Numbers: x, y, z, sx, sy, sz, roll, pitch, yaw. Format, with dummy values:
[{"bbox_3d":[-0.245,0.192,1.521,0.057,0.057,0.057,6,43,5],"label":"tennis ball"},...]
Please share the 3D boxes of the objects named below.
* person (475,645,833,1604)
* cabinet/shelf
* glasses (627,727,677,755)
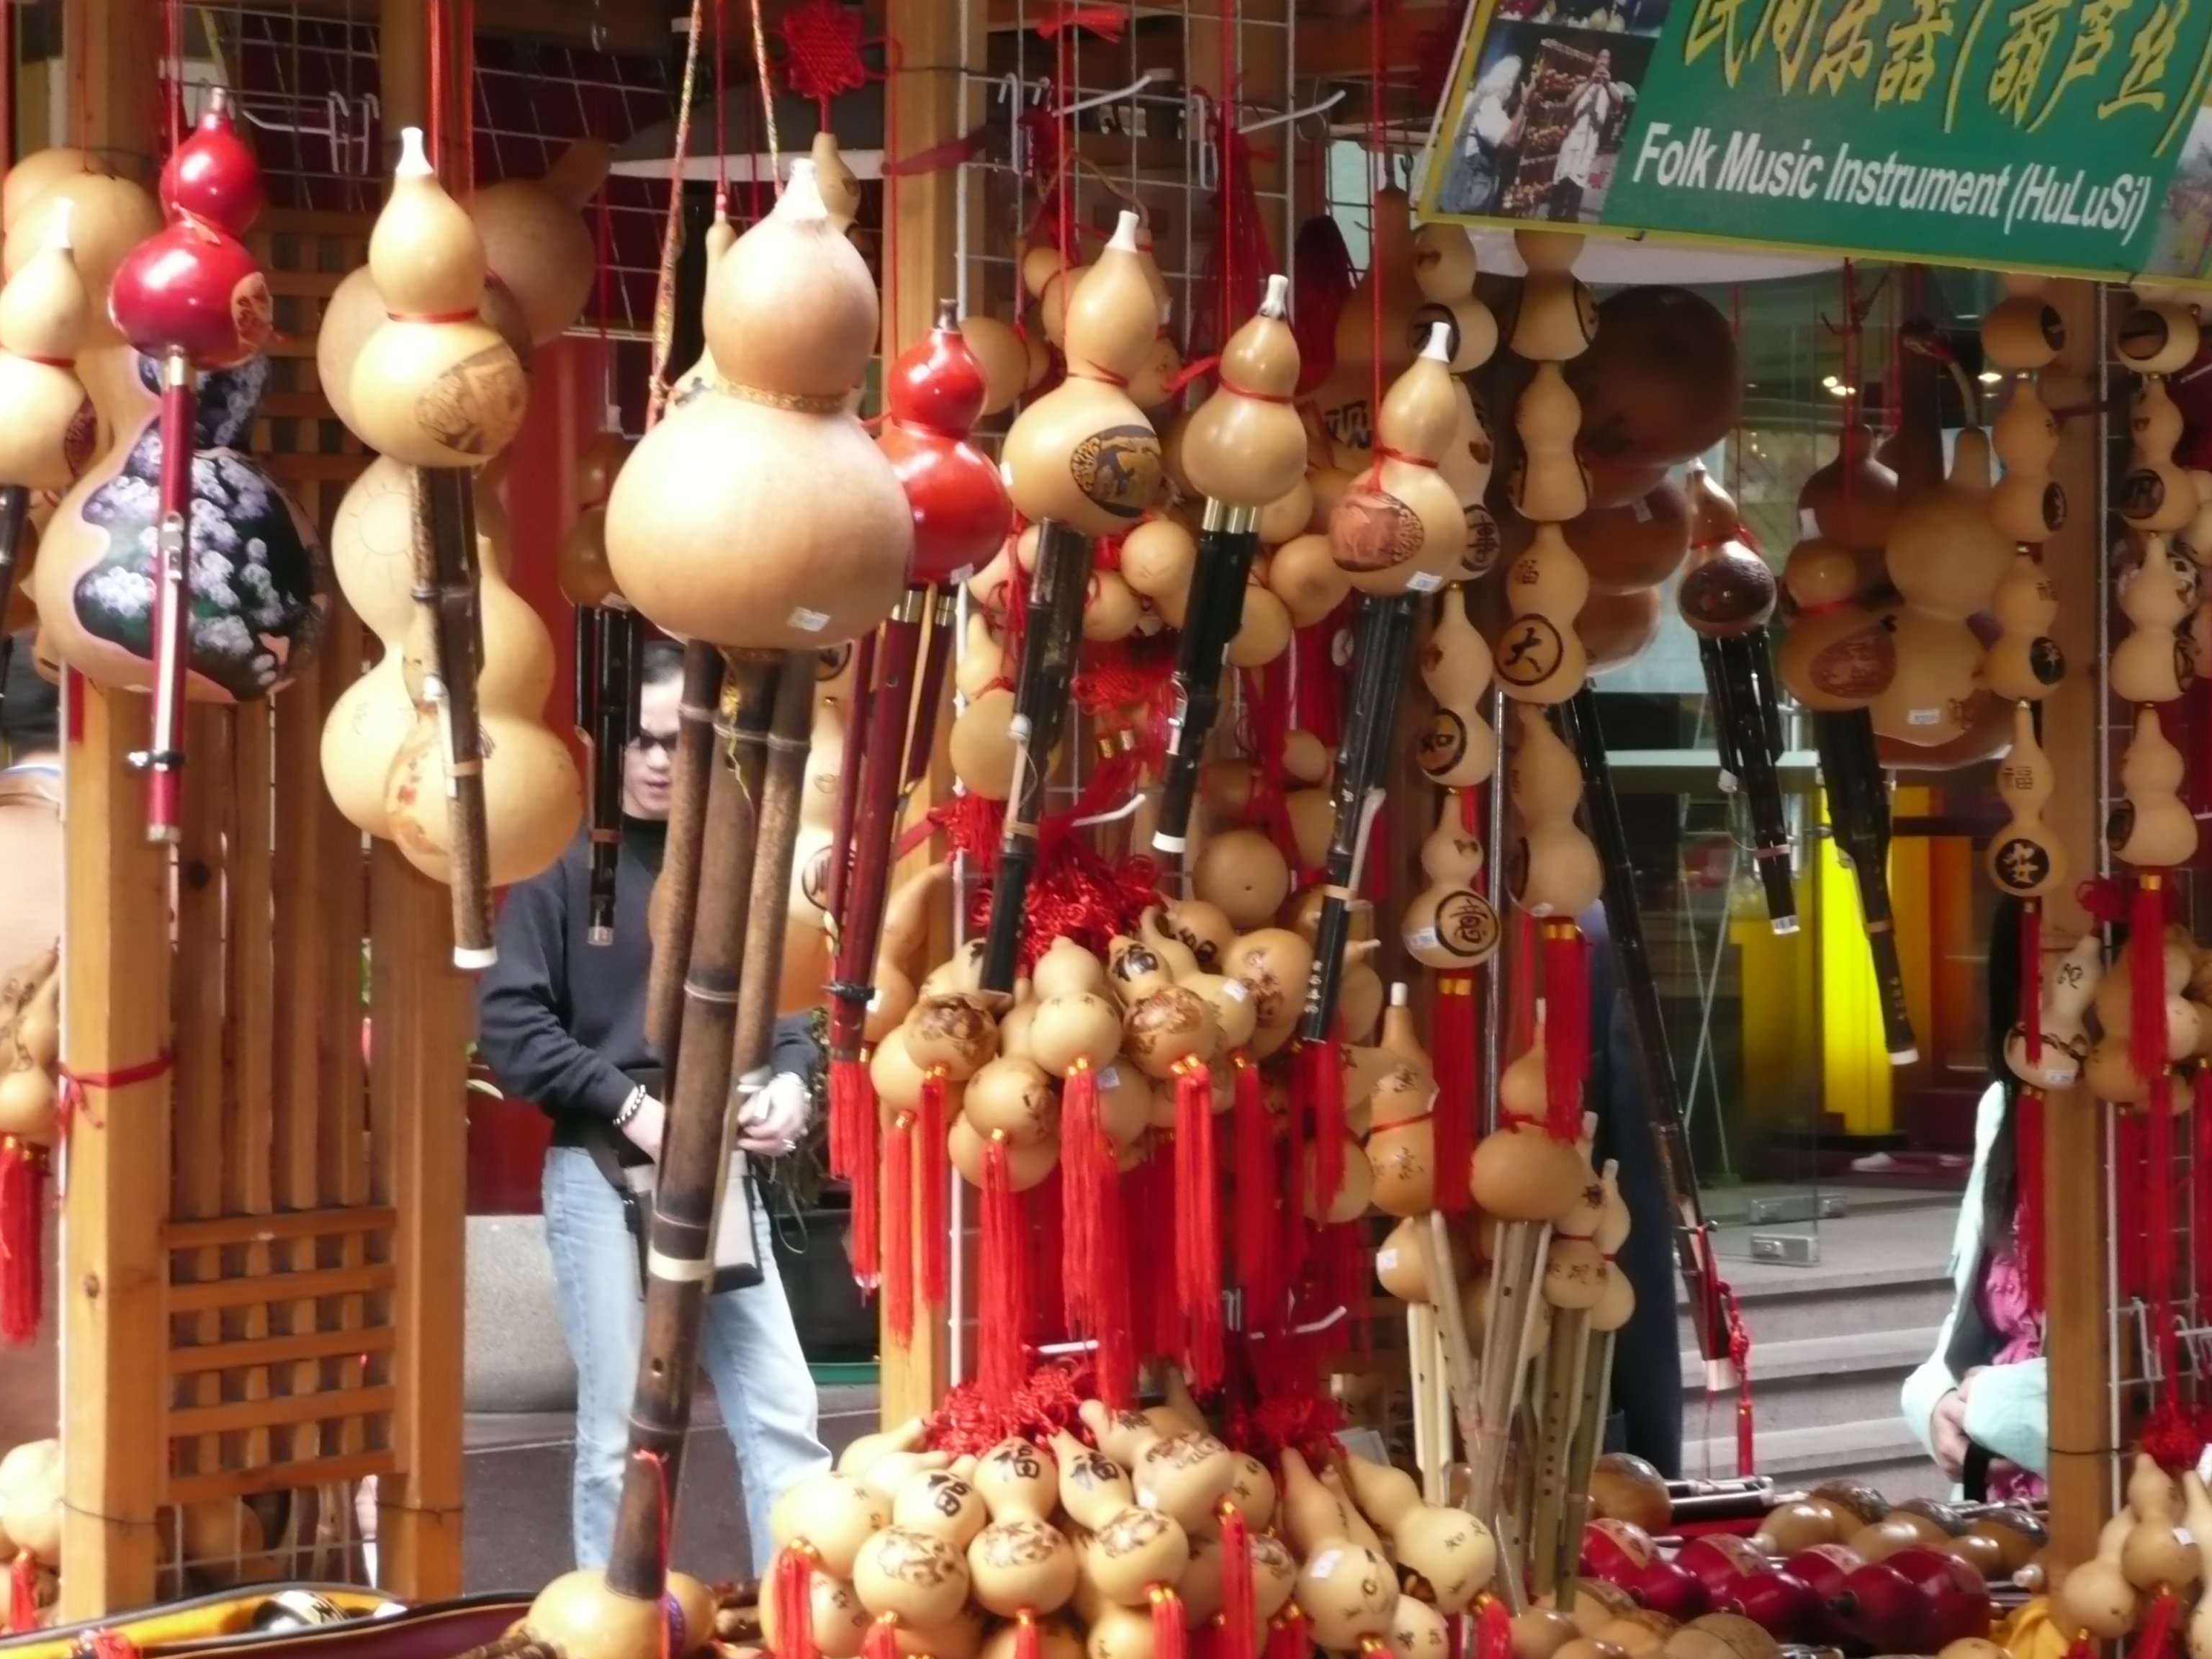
[{"bbox_3d":[-0.609,0.442,3.604,0.463,1.401,1.216,0,2,-7],"label":"person"},{"bbox_3d":[1.036,0.211,4.789,0.329,1.063,0.242,2,16,25],"label":"cabinet/shelf"},{"bbox_3d":[-0.564,-0.111,3.356,0.048,0.036,0.221,0,2,-11],"label":"glasses"}]
